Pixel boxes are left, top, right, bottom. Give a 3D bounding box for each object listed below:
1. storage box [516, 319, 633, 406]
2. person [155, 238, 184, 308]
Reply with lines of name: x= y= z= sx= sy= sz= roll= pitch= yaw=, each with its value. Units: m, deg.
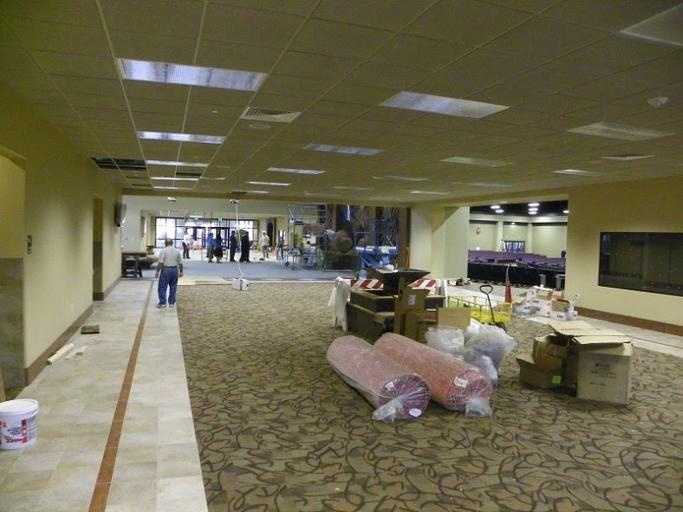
storage box: x=2.935 y=1.313 z=5.541 sx=1.155 sy=0.658 sz=1.056 roll=0 pitch=10 yaw=-8
person: x=-4.136 y=0.376 z=10.223 sx=0.537 sy=1.618 sz=0.957 roll=-1 pitch=7 yaw=-21
